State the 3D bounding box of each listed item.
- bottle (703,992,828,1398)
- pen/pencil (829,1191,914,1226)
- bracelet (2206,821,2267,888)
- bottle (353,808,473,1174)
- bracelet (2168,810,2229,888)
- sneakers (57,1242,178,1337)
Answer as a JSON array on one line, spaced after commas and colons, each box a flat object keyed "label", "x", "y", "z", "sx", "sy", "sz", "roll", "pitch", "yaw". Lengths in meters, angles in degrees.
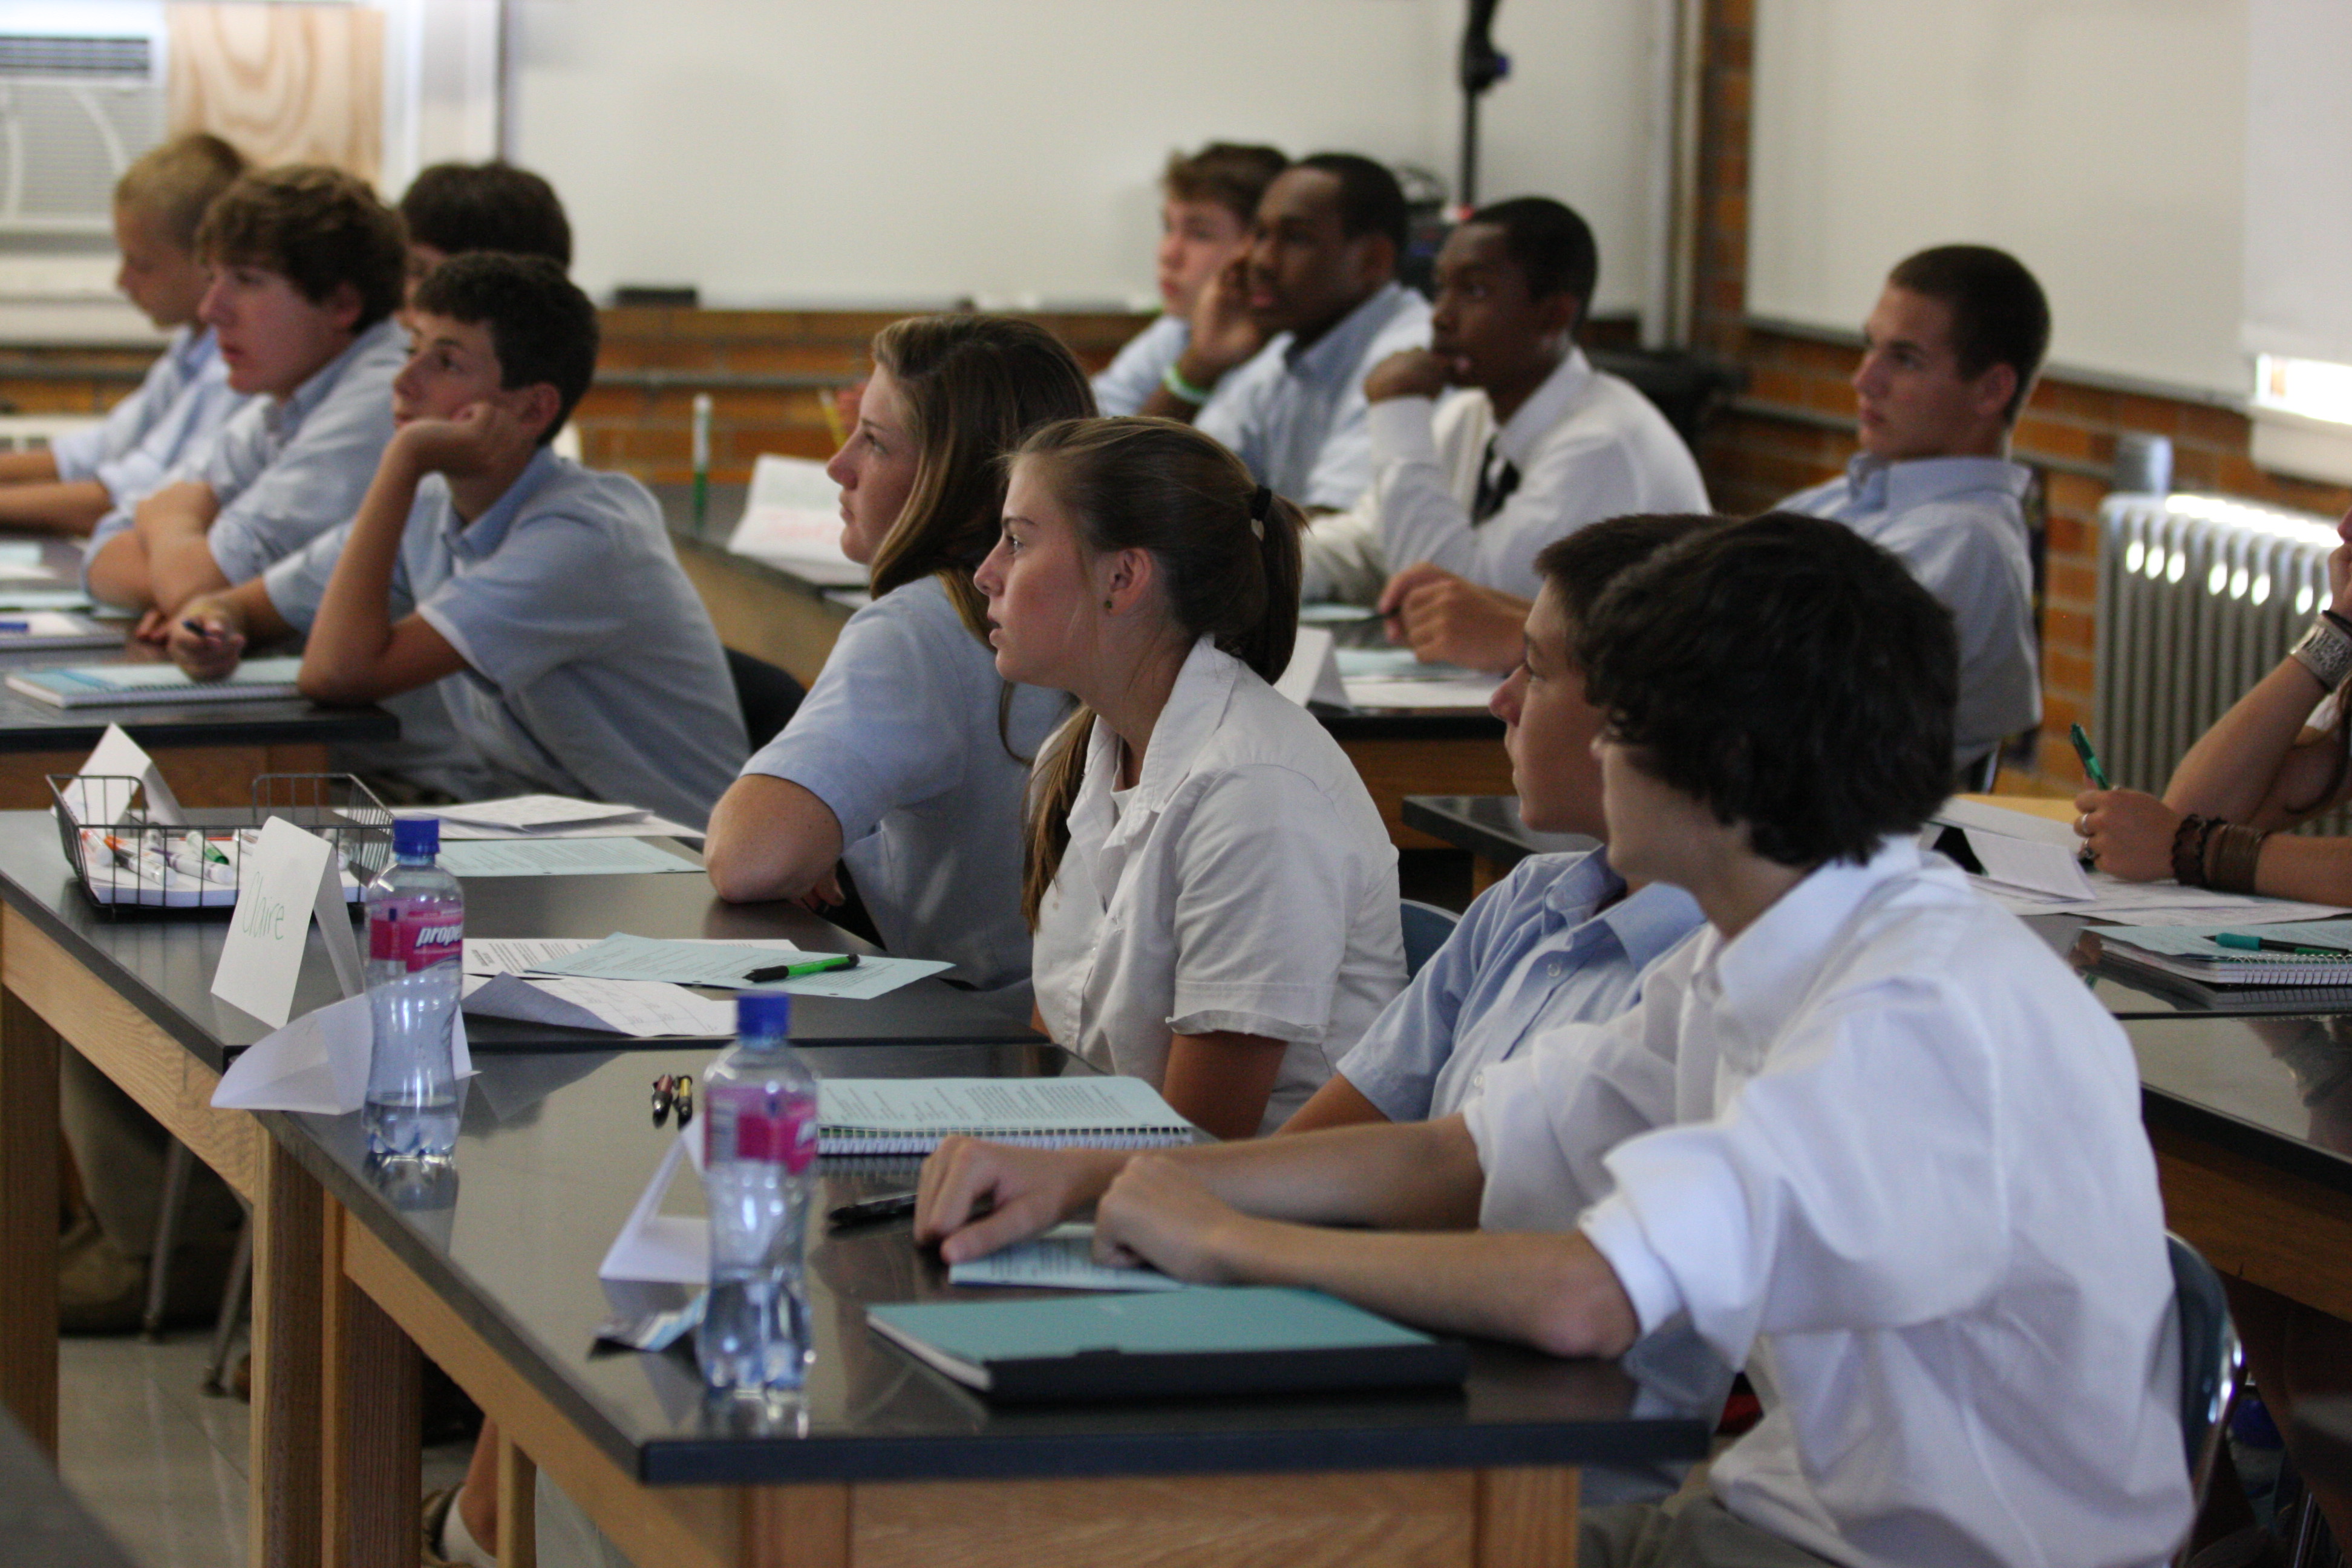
[{"label": "bottle", "x": -0.295, "y": 0.267, "z": 1.563, "sx": 0.087, "sy": 0.277, "sz": 0.175, "roll": -3, "pitch": 13, "yaw": -12}, {"label": "pen/pencil", "x": -0.242, "y": 0.339, "z": 1.821, "sx": 0.022, "sy": 0.016, "sz": 0.085, "roll": 16, "pitch": 16, "yaw": 42}, {"label": "bracelet", "x": 1.269, "y": 0.086, "z": 2.712, "sx": 0.051, "sy": 0.074, "sz": 0.058, "roll": 4, "pitch": 14, "yaw": 2}, {"label": "bottle", "x": -0.682, "y": 0.170, "z": 1.997, "sx": 0.090, "sy": 0.267, "sz": 0.241, "roll": -4, "pitch": 13, "yaw": -17}, {"label": "bracelet", "x": 1.230, "y": 0.079, "z": 2.718, "sx": 0.059, "sy": 0.074, "sz": 0.079, "roll": 6, "pitch": 5, "yaw": 17}, {"label": "sneakers", "x": -1.652, "y": 0.785, "z": 3.461, "sx": 0.124, "sy": 0.056, "sz": 0.161, "roll": 3, "pitch": 8, "yaw": -10}]
